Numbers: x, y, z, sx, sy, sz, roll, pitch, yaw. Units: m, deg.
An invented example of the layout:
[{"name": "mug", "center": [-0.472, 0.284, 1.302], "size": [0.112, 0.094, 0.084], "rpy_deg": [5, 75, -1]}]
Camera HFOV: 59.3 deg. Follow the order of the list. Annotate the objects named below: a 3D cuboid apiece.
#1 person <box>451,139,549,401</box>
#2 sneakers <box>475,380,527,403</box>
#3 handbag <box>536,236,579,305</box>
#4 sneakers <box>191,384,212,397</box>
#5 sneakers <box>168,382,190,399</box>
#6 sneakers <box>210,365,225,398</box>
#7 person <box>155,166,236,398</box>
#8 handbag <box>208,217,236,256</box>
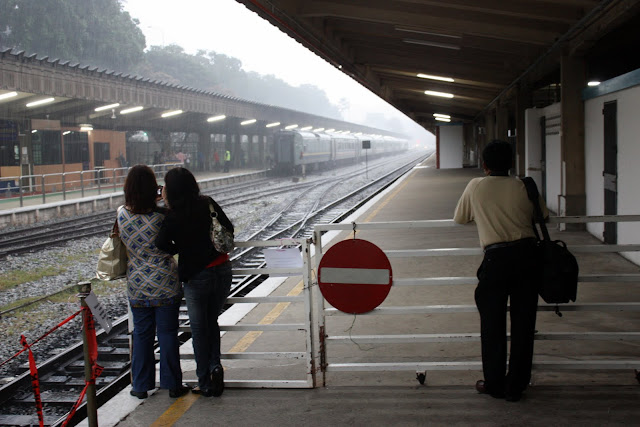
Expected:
[{"name": "person", "center": [1.849, 0.581, 5.823], "size": [0.743, 2.578, 0.692], "rpy_deg": [8, 16, 40]}, {"name": "sneakers", "center": [1.887, 1.838, 5.869], "size": [0.542, 0.222, 0.185], "rpy_deg": [1, -1, 24]}, {"name": "handbag", "center": [2.414, 0.629, 5.725], "size": [0.372, 0.732, 0.335], "rpy_deg": [3, 14, 24]}, {"name": "sneakers", "center": [-1.269, 1.928, 6.073], "size": [0.236, 0.097, 0.089], "rpy_deg": [10, 22, 11]}, {"name": "sneakers", "center": [-1.516, 1.928, 6.158], "size": [0.098, 0.129, 0.306], "rpy_deg": [3, 9, 24]}, {"name": "sneakers", "center": [-1.103, 1.808, 6.048], "size": [0.114, 0.348, 0.135], "rpy_deg": [0, 1, -11]}, {"name": "person", "center": [-1.298, 0.733, 6.055], "size": [0.760, 2.429, 0.518], "rpy_deg": [-3, 12, 0]}, {"name": "handbag", "center": [-1.019, 0.244, 6.028], "size": [0.309, 0.379, 0.196], "rpy_deg": [-4, 24, -12]}]
